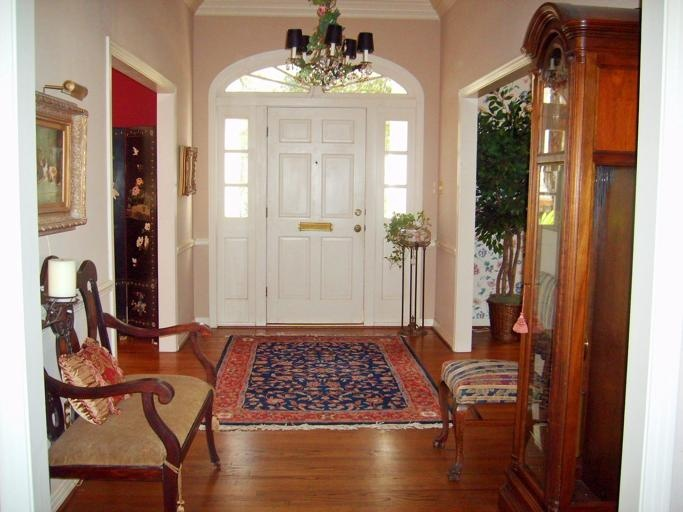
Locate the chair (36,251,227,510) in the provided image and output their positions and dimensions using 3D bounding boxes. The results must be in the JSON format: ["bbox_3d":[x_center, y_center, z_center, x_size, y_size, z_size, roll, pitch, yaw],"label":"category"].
[{"bbox_3d":[-1.276,0.743,3.250,0.784,1.420,1.081,0,15,-6],"label":"chair"}]

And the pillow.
[{"bbox_3d":[-1.253,0.600,2.678,0.121,0.431,0.380,-31,-17,17],"label":"pillow"}]

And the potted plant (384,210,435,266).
[{"bbox_3d":[0.750,-0.176,6.141,0.546,0.672,0.736,2,9,9],"label":"potted plant"}]
